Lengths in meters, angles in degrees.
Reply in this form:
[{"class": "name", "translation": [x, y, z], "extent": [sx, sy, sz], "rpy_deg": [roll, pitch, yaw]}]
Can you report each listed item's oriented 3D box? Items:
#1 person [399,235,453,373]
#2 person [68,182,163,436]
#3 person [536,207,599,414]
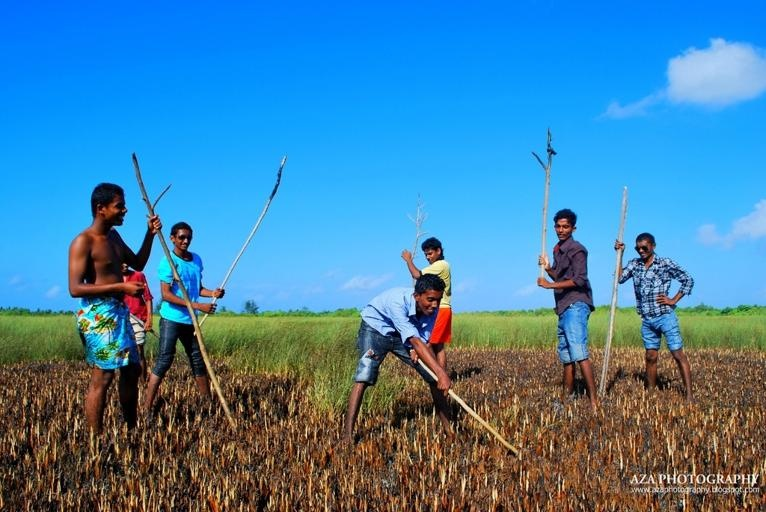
[{"class": "person", "translation": [0.637, 0.814, 12.327], "extent": [0.901, 2.723, 0.965], "rpy_deg": [4, -33, -1]}, {"class": "person", "translation": [-3.923, 0.922, 12.159], "extent": [1.115, 3.861, 1.322], "rpy_deg": [7, 9, 39]}, {"class": "person", "translation": [3.177, 0.825, 14.134], "extent": [0.748, 3.261, 1.005], "rpy_deg": [0, -2, -32]}]
